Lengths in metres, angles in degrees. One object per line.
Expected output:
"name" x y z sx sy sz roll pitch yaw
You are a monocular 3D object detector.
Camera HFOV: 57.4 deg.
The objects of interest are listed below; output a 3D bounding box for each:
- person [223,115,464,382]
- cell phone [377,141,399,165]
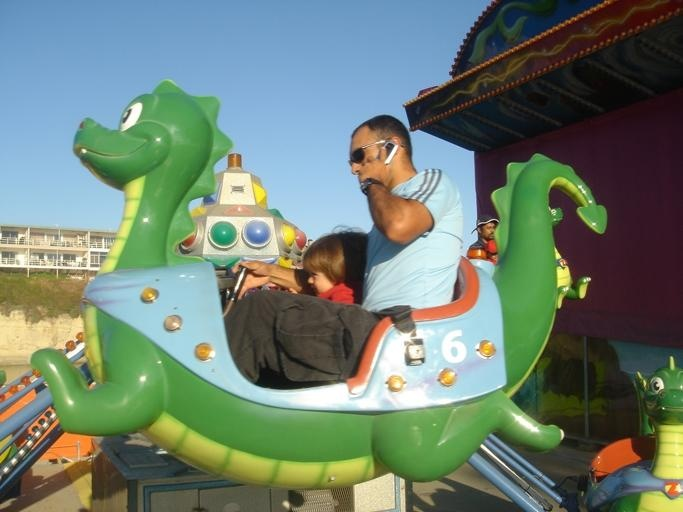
"person" 0.013 -0.058 3.416 1.254 1.463 0.993 -1 -6 -9
"cell phone" 0.255 -0.556 3.321 0.066 0.122 0.028 11 -4 27
